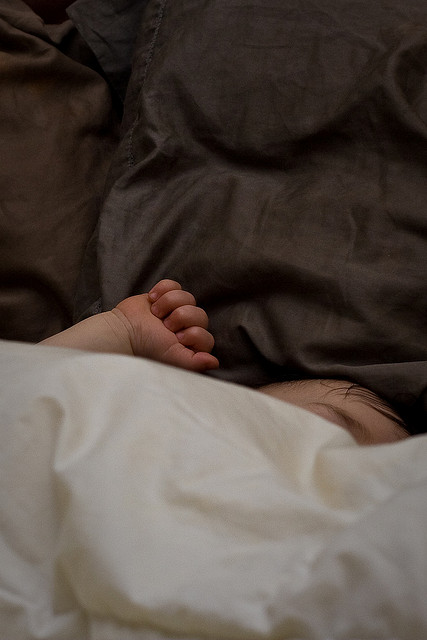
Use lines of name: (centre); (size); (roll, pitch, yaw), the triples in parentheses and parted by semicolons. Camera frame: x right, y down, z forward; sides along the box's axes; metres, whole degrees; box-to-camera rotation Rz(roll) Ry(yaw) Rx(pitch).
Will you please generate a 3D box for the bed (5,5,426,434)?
bed: (0.027, -0.161, 0.786); (0.620, 0.154, 0.538); (-5, 76, 6)
